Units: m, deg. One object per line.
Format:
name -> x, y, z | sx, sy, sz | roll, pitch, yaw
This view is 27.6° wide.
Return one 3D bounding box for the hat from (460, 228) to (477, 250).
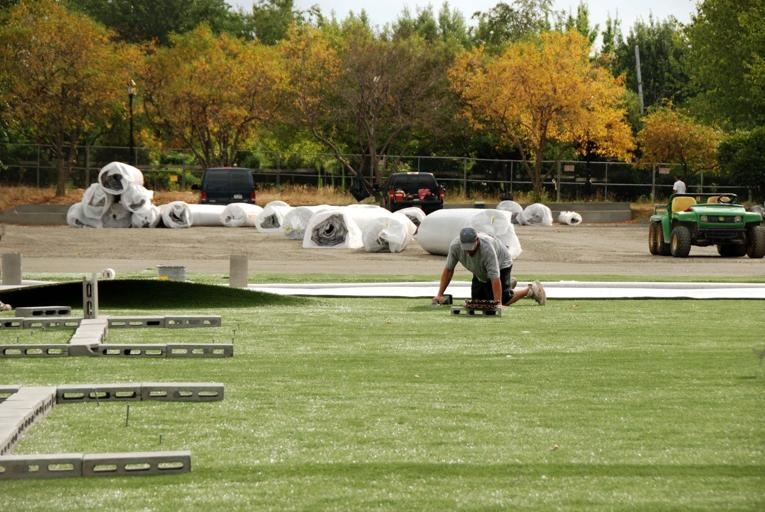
hat -> 2.975, -0.560, 54.762 | 0.656, 0.765, 0.272 | 0, 1, 2
